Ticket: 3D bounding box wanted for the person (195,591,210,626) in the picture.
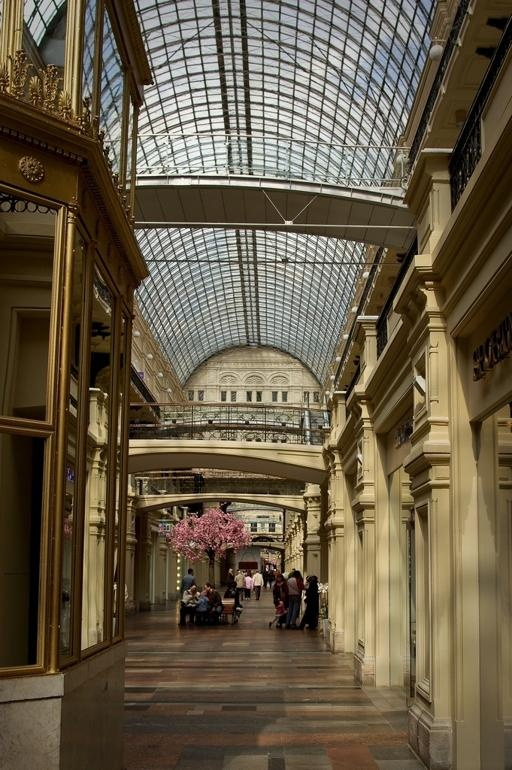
[{"bbox_3d":[-2.314,9.699,24.865,0.564,1.191,0.846,3,-15,-4],"label":"person"}]
